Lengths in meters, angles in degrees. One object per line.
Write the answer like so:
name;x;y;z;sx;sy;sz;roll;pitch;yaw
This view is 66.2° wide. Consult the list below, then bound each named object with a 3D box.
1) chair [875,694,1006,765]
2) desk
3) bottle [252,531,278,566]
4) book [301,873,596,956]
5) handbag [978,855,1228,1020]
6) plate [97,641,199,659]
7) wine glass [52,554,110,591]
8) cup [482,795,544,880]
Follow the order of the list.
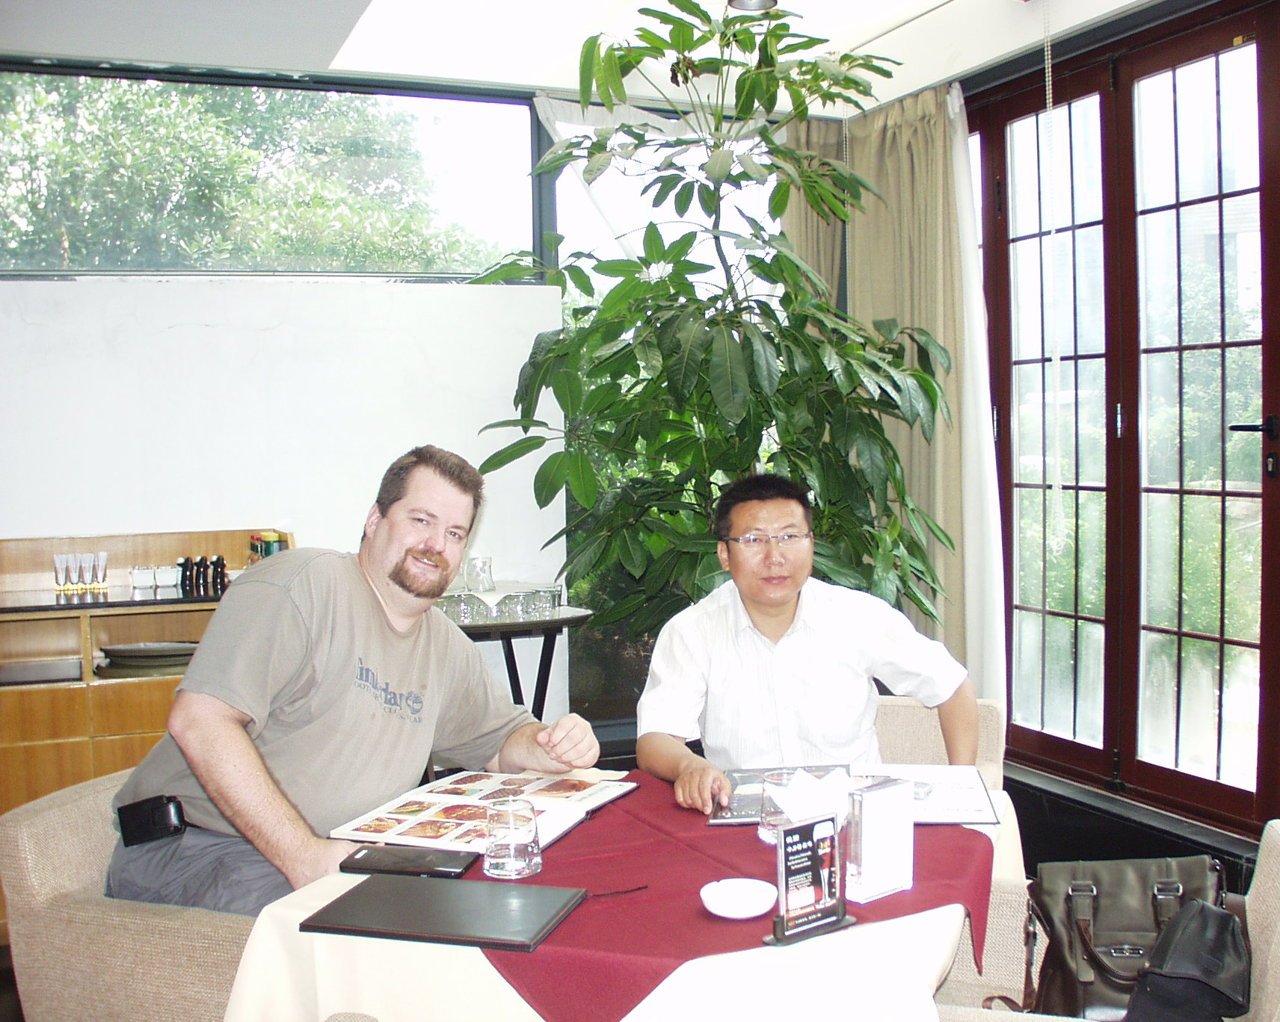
chair;0.856;0.647;2.829;0.229;0.304;0.250;0;-10;-1
desk;-0.487;0.656;4.125;0.533;0.590;0.495;1;4;24
bottle;-1.377;0.136;3.606;0.090;0.128;0.041;0;-1;41
book;-0.292;0.619;1.488;0.300;0.022;0.170;4;10;20
handbag;1.039;0.978;2.219;0.532;0.408;0.301;-1;12;-2
plate;-1.906;0.543;3.801;0.232;0.034;0.239;1;-5;-15
wine glass;-2.274;0.250;3.981;0.227;0.171;0.133;1;-5;-23
cup;-0.213;0.547;1.655;0.105;0.111;0.110;-1;-3;0
